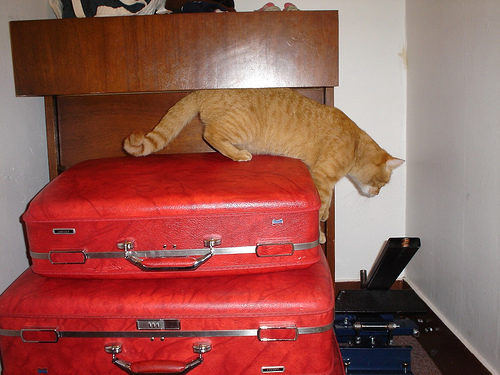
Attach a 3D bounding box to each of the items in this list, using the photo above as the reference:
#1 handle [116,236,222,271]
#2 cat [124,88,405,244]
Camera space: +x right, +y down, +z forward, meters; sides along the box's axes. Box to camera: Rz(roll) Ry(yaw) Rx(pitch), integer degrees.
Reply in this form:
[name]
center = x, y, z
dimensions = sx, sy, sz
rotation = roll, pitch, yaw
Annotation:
[handle]
center = -0.217, 0.177, 1.371
dimensions = 0.285, 0.094, 0.039
rotation = 1, 27, -6
[cat]
center = 0.061, -0.134, 1.772
dimensions = 0.949, 0.418, 0.232
rotation = 17, 2, -13
